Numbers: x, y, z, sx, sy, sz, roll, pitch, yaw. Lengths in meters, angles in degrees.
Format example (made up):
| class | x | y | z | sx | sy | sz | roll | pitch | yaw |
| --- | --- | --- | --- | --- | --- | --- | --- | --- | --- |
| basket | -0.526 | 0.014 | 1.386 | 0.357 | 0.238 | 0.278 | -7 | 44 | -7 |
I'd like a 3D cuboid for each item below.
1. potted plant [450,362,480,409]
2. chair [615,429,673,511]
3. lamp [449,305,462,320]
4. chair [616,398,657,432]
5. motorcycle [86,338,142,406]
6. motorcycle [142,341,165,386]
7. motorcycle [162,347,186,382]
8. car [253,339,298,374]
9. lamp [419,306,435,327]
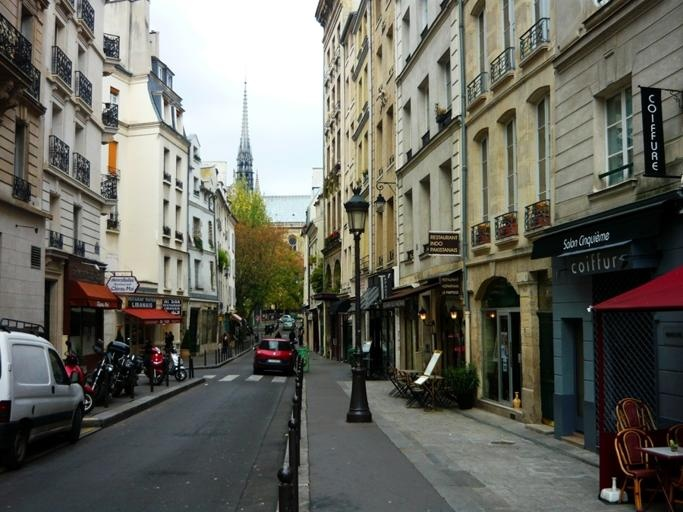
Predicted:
| class | x | y | z | sx | sy | sz | roll | pitch | yaw |
| --- | --- | --- | --- | --- | --- | --- | --- | --- | --- |
| potted plant | 3.242 | 3.426 | 20.540 | 0.832 | 1.162 | 0.516 | -3 | -11 | 6 |
| chair | 4.618 | 3.277 | 12.177 | 0.729 | 1.574 | 0.955 | -1 | -7 | -8 |
| lamp | 3.294 | 1.602 | 22.316 | 0.268 | 0.420 | 0.352 | 2 | -3 | -17 |
| chair | 4.967 | 2.645 | 12.896 | 0.547 | 0.552 | 1.301 | -11 | -17 | 38 |
| motorcycle | -6.502 | 3.310 | 22.066 | 0.874 | 2.035 | 4.061 | 0 | -14 | -6 |
| motorcycle | -7.127 | 3.960 | 28.856 | 0.880 | 1.853 | 2.616 | 0 | 1 | -9 |
| motorcycle | -6.581 | 4.283 | 30.104 | 1.284 | 1.046 | 0.681 | -4 | -5 | 28 |
| car | -2.866 | 4.200 | 33.009 | 1.701 | 1.499 | 1.034 | 1 | -12 | -11 |
| lamp | 2.748 | 1.944 | 24.824 | 0.488 | 0.959 | 0.371 | 1 | -3 | 0 |
